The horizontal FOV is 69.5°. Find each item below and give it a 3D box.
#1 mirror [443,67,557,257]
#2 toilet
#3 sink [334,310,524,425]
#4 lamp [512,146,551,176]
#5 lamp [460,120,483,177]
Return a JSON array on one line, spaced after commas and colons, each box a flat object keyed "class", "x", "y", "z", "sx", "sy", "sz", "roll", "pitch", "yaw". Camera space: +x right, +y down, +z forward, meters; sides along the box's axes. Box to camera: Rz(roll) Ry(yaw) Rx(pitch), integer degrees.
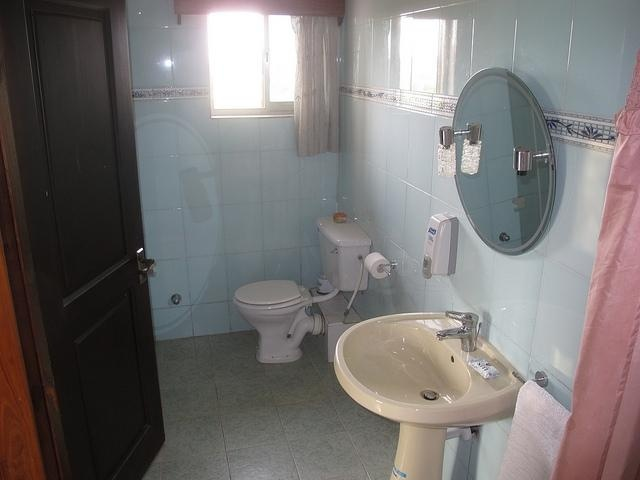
[{"class": "mirror", "x": 0.739, "y": -0.328, "z": 1.864, "sx": 0.230, "sy": 0.722, "sz": 0.675, "roll": -6, "pitch": 16, "yaw": -11}, {"class": "toilet", "x": -0.196, "y": 0.415, "z": 3.721, "sx": 0.988, "sy": 1.101, "sz": 0.656, "roll": -1, "pitch": 17, "yaw": -9}, {"class": "sink", "x": 0.424, "y": 0.566, "z": 2.021, "sx": 0.496, "sy": 0.214, "sz": 0.570, "roll": -7, "pitch": 25, "yaw": -17}, {"class": "lamp", "x": 0.754, "y": -0.294, "z": 1.673, "sx": 0.119, "sy": 0.089, "sz": 0.066, "roll": -6, "pitch": 21, "yaw": -14}, {"class": "lamp", "x": 0.667, "y": -0.389, "z": 2.036, "sx": 0.072, "sy": 0.221, "sz": 0.056, "roll": 6, "pitch": -1, "yaw": 18}]
